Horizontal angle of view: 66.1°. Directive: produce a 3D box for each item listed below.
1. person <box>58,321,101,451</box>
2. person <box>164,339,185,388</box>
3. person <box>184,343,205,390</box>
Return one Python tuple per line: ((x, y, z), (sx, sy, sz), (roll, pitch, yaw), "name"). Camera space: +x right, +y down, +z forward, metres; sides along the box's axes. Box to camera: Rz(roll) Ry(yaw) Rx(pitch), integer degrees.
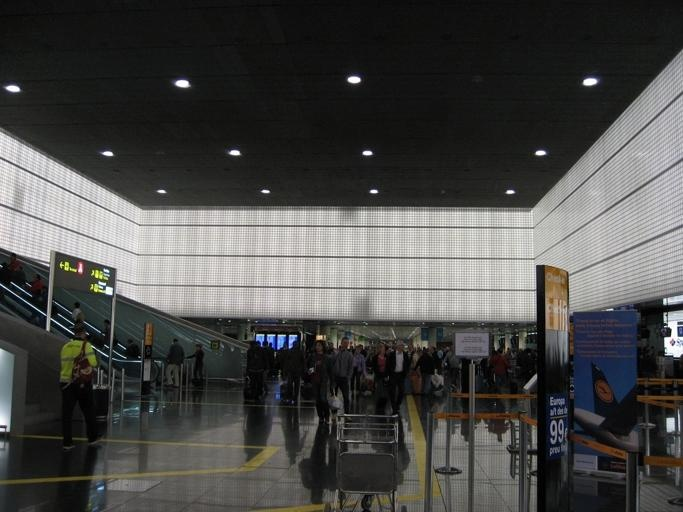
((-4.518, 2.234, 9.098), (0.616, 2.063, 0.670), (3, -5, -30), "person")
((-6.228, 4.010, 19.542), (0.553, 1.789, 0.849), (2, -4, -18), "person")
((-5.850, 4.371, 21.174), (0.612, 1.683, 1.351), (2, -4, -16), "person")
